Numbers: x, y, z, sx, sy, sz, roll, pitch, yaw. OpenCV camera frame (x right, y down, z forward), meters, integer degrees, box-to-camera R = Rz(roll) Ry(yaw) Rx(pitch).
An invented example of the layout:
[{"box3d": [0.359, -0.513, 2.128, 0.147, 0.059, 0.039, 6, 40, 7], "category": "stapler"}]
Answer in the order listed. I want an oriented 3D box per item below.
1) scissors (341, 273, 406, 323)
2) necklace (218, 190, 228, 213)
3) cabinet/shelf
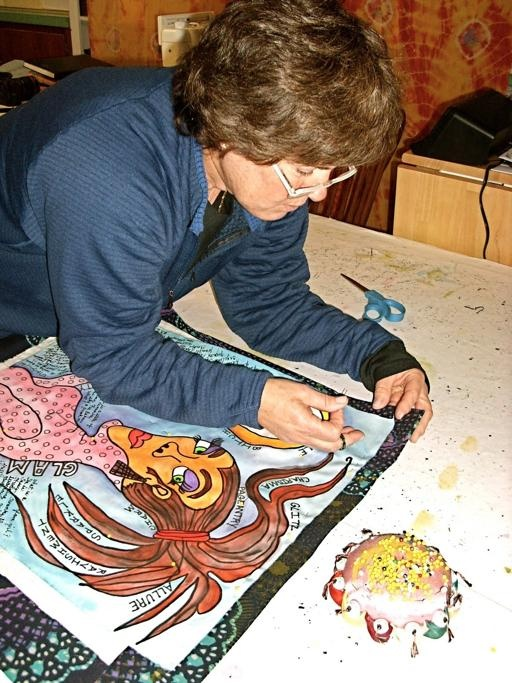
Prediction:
[{"box3d": [0.221, -0.094, 1.124, 0.145, 0.028, 0.076, 29, 15, -25], "category": "scissors"}, {"box3d": [-0.055, -0.226, 0.917, 0.011, 0.035, 0.008, -9, 46, -7], "category": "necklace"}, {"box3d": [0.488, -0.331, 1.388, 0.267, 0.222, 0.133, 23, 47, 24], "category": "cabinet/shelf"}]
